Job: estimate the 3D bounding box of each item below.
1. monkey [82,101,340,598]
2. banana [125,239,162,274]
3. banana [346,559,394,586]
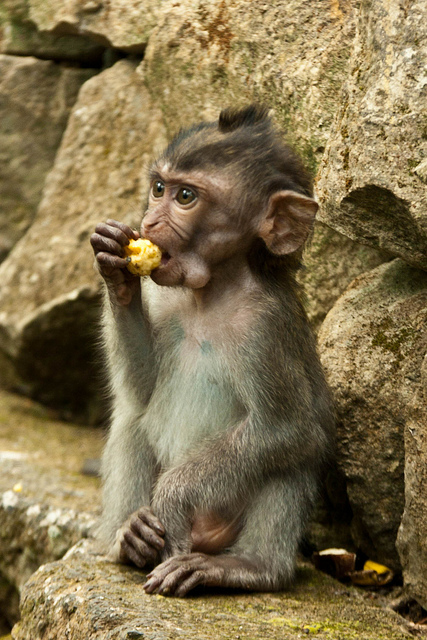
[{"bbox_3d":[0.035,0.125,4.305,1.147,2.258,0.935,2,-21,2],"label":"monkey"},{"bbox_3d":[-0.314,-0.273,4.084,0.141,0.144,0.067,-7,-7,-2],"label":"banana"},{"bbox_3d":[0.775,1.231,4.490,0.127,0.048,0.142,-2,-6,-45],"label":"banana"}]
